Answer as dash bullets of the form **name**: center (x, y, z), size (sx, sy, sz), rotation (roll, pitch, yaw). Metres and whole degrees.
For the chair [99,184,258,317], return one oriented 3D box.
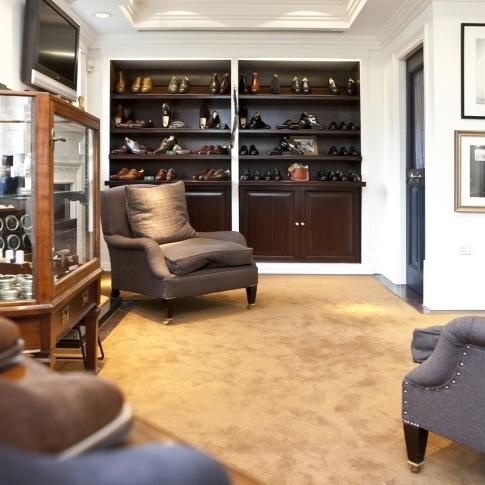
- **chair**: center (-0.659, 0.038, 3.959), size (1.346, 1.102, 1.175), rotation (4, 6, 43)

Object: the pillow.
- **pillow**: center (-0.748, -0.268, 3.931), size (0.301, 0.545, 0.776), rotation (12, 17, 32)

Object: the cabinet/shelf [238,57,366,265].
- **cabinet/shelf**: center (0.751, -1.056, 5.605), size (1.612, 2.627, 0.682), rotation (0, 5, 0)
